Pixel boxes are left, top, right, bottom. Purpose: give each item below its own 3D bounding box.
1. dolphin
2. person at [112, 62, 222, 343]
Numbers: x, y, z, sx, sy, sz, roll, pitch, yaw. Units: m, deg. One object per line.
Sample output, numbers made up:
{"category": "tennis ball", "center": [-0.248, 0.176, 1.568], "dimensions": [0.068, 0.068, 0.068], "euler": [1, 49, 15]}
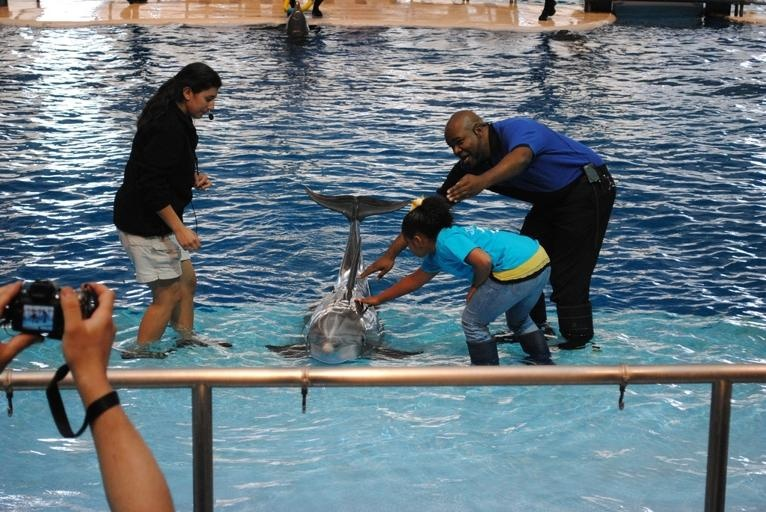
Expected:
{"category": "dolphin", "center": [-0.523, 0.216, 11.285], "dimensions": [2.817, 1.804, 1.670], "euler": [-4, -3, 28]}
{"category": "person", "center": [-2.129, -0.483, 9.725], "dimensions": [1.040, 2.843, 0.664], "euler": [-6, 15, -17]}
